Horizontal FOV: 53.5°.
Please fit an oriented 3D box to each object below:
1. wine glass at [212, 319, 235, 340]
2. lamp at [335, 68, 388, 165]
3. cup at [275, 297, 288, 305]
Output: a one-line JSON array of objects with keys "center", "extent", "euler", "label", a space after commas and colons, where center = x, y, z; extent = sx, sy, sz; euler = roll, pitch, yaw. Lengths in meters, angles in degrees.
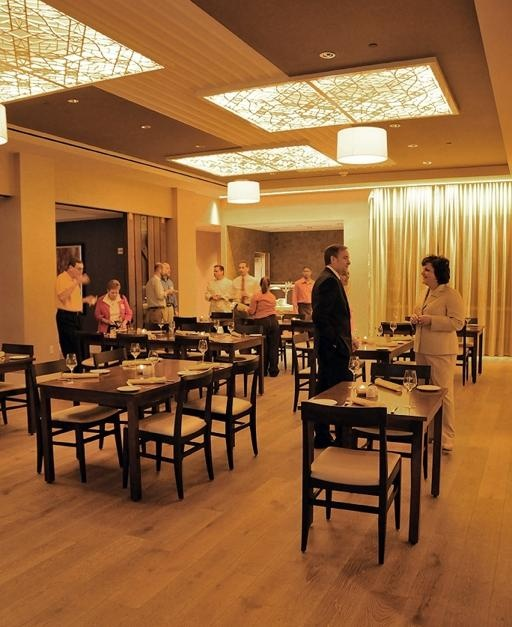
[{"center": [-0.453, 0.228, 7.295], "extent": [0.255, 0.367, 0.294], "euler": [-1, -6, 3], "label": "wine glass"}, {"center": [1.121, -1.806, 5.386], "extent": [0.485, 0.420, 0.683], "euler": [0, 2, 13], "label": "lamp"}, {"center": [0.691, -0.301, 13.189], "extent": [0.216, 0.146, 0.210], "euler": [-2, 10, 0], "label": "cup"}]
